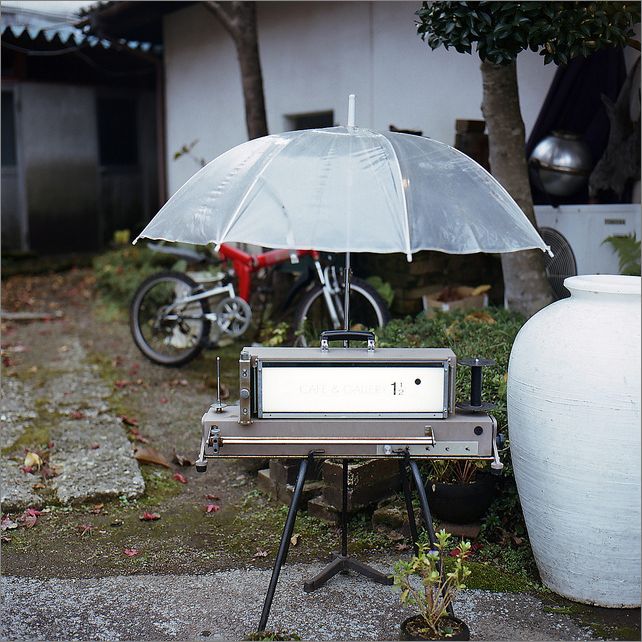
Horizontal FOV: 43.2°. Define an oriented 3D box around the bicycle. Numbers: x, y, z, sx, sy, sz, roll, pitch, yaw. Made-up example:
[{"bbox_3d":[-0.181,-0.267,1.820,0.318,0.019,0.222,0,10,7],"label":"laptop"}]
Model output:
[{"bbox_3d":[-0.634,-0.326,7.221,1.962,1.469,1.149,2,-7,10],"label":"bicycle"}]
